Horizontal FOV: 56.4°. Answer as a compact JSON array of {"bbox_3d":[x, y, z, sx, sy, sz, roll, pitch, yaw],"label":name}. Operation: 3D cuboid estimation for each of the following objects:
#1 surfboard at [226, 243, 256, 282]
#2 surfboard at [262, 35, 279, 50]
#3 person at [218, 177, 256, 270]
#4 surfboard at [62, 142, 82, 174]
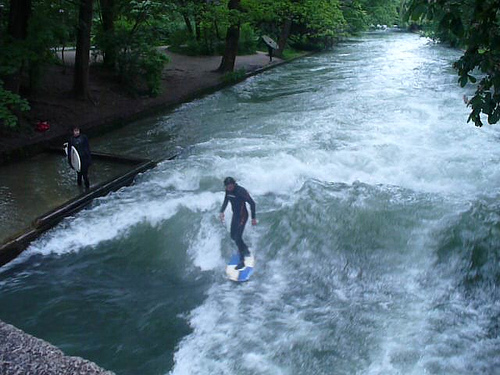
[{"bbox_3d":[-0.183,1.911,11.707,0.460,0.220,0.924,6,35,10],"label":"surfboard"},{"bbox_3d":[1.369,-10.087,32.422,0.914,0.704,1.407,2,24,-6],"label":"surfboard"},{"bbox_3d":[-0.264,0.820,11.685,0.643,2.219,1.041,-13,30,-36],"label":"person"},{"bbox_3d":[-5.266,-0.985,13.783,0.349,0.917,1.332,-9,28,-30],"label":"surfboard"}]
